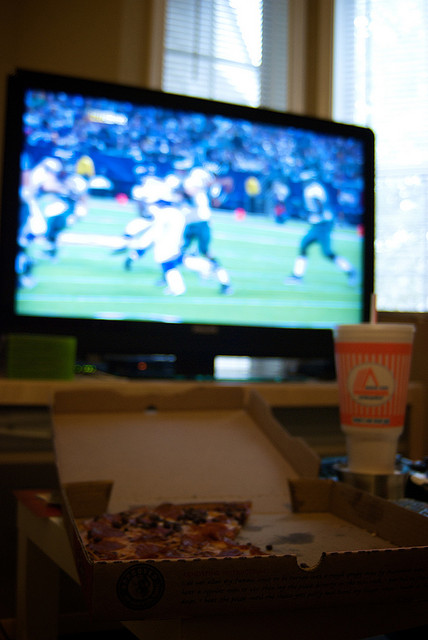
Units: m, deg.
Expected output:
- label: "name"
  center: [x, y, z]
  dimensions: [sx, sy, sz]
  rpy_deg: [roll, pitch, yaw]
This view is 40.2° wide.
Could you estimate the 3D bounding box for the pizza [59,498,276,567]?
- label: "pizza"
  center: [-0.041, 0.169, 0.468]
  dimensions: [0.106, 0.011, 0.114]
  rpy_deg: [0, -3, 1]
